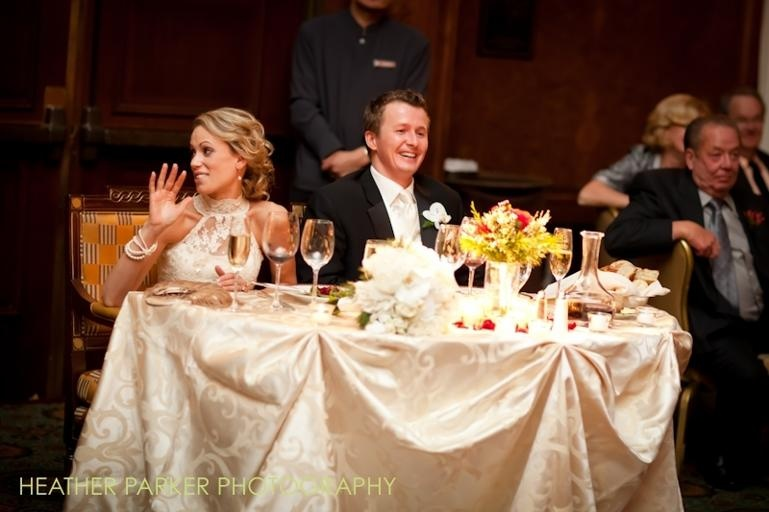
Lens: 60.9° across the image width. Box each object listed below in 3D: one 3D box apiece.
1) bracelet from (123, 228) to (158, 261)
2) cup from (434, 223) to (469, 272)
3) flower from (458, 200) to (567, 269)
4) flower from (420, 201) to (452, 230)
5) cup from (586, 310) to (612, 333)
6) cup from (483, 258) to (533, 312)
[{"bbox_3d":[-1.111,-0.036,2.980,0.117,0.145,0.053,-4,-15,-6],"label":"bracelet"},{"bbox_3d":[0.266,-0.041,2.668,0.147,0.281,0.161,0,-4,0],"label":"cup"},{"bbox_3d":[0.511,-0.086,2.662,0.276,0.197,0.305,2,6,19],"label":"flower"},{"bbox_3d":[0.275,-0.223,3.391,0.146,0.157,0.039,-13,-16,-39],"label":"flower"},{"bbox_3d":[0.860,0.256,2.592,0.069,0.059,0.074,0,1,0],"label":"cup"},{"bbox_3d":[0.478,0.100,2.632,0.179,0.231,0.189,0,2,0],"label":"cup"}]
